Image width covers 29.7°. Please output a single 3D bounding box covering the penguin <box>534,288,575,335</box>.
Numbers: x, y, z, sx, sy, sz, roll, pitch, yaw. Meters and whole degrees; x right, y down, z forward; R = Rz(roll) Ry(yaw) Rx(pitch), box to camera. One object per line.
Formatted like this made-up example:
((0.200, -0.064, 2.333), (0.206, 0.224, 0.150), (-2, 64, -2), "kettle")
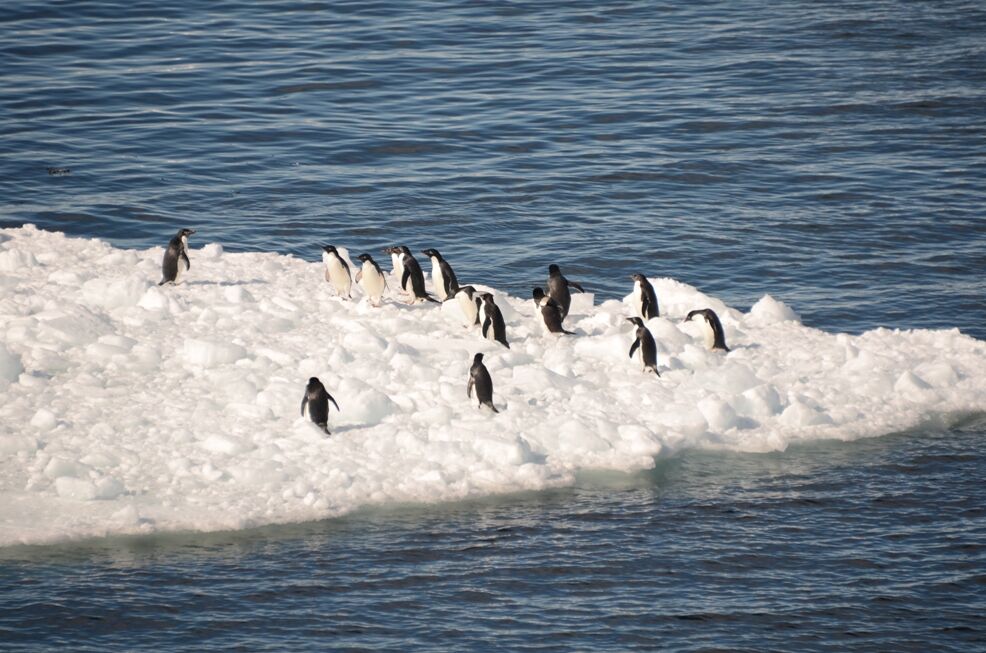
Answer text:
((1.287, -0.325, 43.594), (0.664, 1.173, 0.773), (-14, 22, 40), "penguin")
